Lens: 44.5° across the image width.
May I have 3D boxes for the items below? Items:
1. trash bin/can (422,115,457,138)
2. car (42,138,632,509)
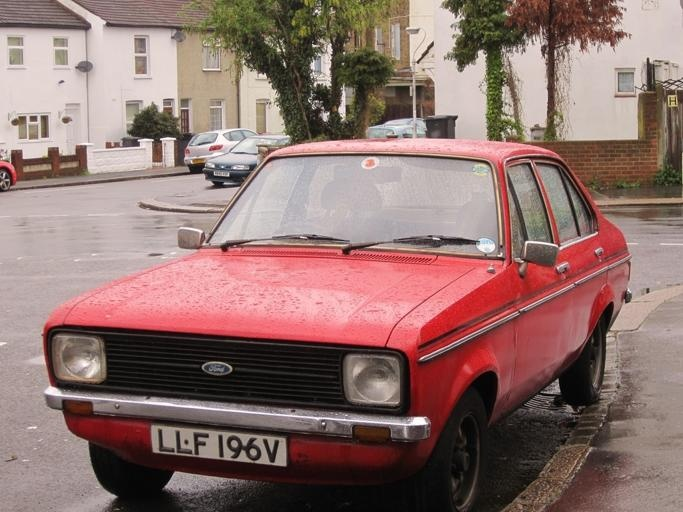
[{"bbox_3d":[3.902,-5.083,32.813,1.120,0.902,1.064,1,4,5],"label":"trash bin/can"},{"bbox_3d":[0.398,0.134,5.458,1.977,1.514,3.451,1,2,27],"label":"car"}]
